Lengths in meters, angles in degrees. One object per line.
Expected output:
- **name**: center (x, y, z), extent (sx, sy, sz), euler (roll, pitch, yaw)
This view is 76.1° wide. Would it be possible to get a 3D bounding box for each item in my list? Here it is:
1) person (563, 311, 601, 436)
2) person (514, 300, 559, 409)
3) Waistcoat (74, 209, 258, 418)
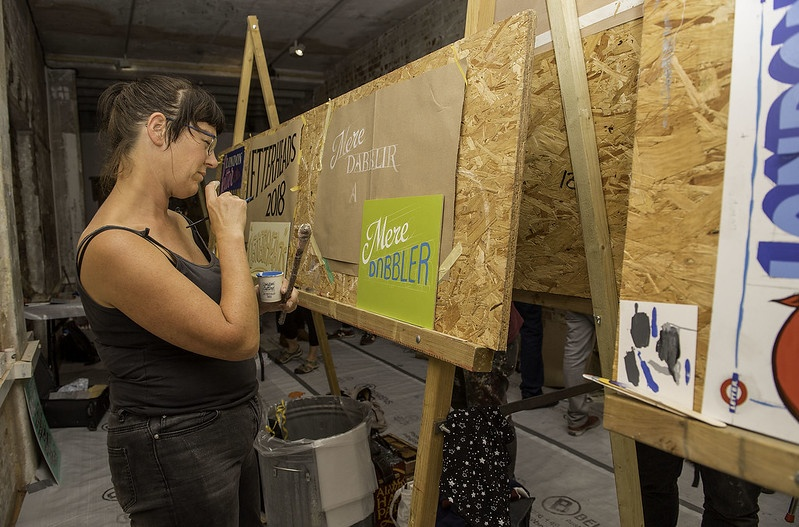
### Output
- **person**: center (1.148, 0.712, 3.186), extent (0.215, 0.902, 0.876), euler (2, 4, 21)
- **person**: center (0.997, 0.643, 3.858), extent (0.188, 0.754, 0.468), euler (1, 4, 15)
- **Waistcoat**: center (-0.818, 0.173, 1.832), extent (0.533, 0.698, 0.548), euler (-4, -4, -18)
